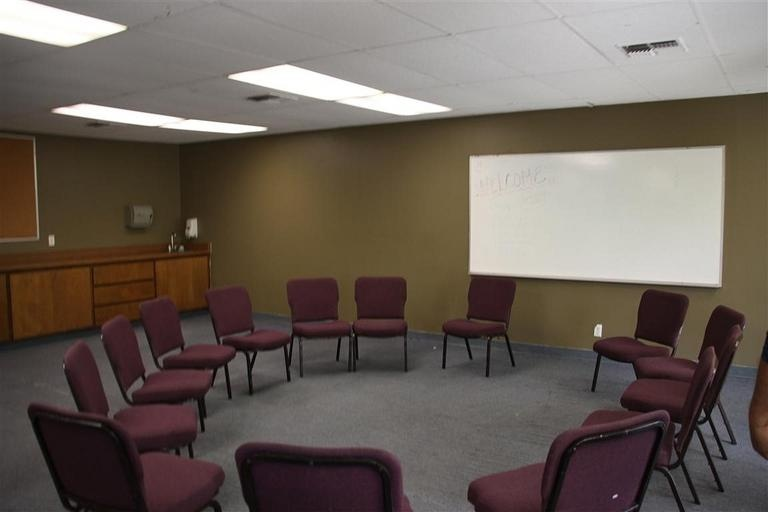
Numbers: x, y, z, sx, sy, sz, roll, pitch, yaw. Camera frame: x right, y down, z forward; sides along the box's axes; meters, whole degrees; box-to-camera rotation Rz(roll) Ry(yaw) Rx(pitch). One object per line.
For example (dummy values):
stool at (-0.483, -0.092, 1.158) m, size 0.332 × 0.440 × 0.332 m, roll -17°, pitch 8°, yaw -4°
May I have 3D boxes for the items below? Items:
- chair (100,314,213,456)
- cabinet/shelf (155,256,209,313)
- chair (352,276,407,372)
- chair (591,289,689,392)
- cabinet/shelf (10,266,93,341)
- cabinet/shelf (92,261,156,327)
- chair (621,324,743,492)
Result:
chair at (-2.004, 0.974, 4.332) m, size 0.959 × 1.087 × 0.743 m, roll 0°, pitch 5°, yaw 2°
cabinet/shelf at (-3.195, 0.417, 8.016) m, size 0.354 × 0.892 × 0.938 m, roll -1°, pitch -2°, yaw 37°
chair at (-0.053, 0.805, 6.344) m, size 0.667 × 1.005 × 0.864 m, roll -1°, pitch 12°, yaw 1°
chair at (2.616, 0.923, 5.271) m, size 0.769 × 1.082 × 0.659 m, roll -1°, pitch 5°, yaw -13°
cabinet/shelf at (-4.667, 0.644, 7.096) m, size 0.294 × 0.832 × 0.934 m, roll 11°, pitch 13°, yaw 43°
cabinet/shelf at (-3.717, 0.513, 7.209) m, size 0.948 × 0.893 × 0.324 m, roll -3°, pitch 4°, yaw -42°
chair at (2.418, 1.128, 4.208) m, size 0.737 × 1.088 × 0.681 m, roll -1°, pitch 27°, yaw 41°
